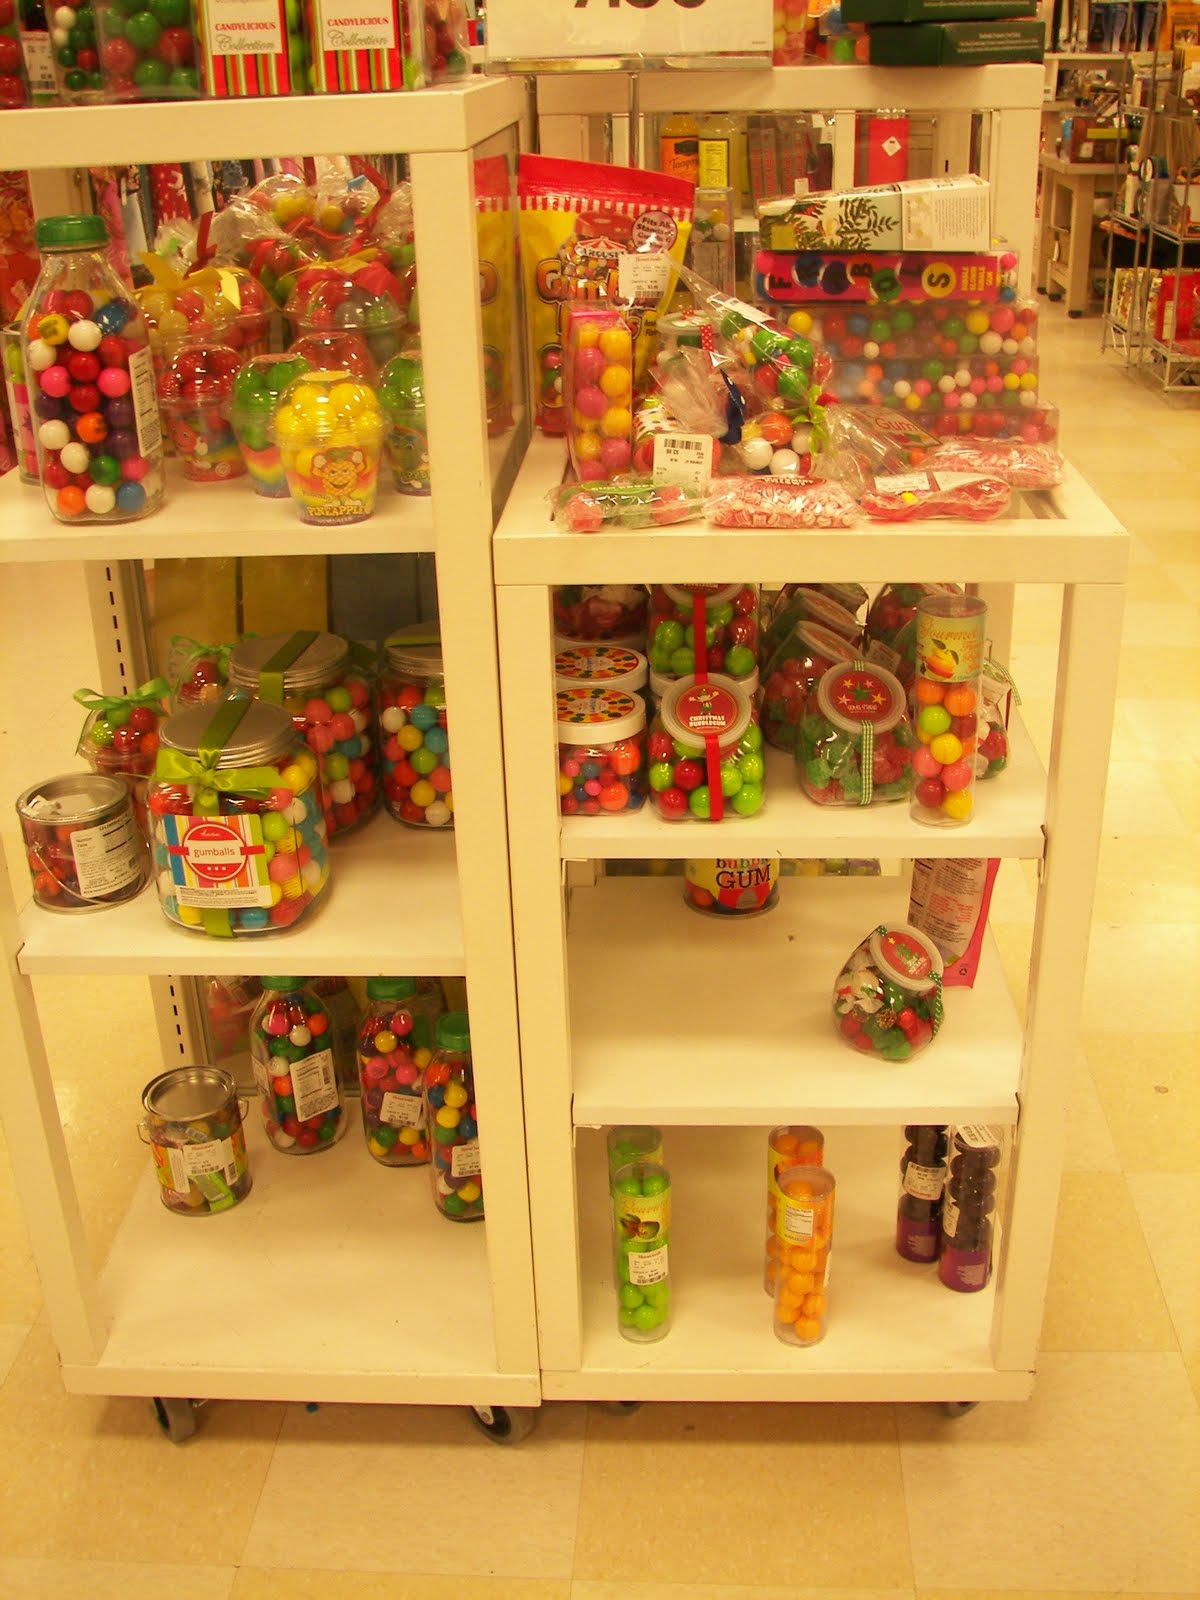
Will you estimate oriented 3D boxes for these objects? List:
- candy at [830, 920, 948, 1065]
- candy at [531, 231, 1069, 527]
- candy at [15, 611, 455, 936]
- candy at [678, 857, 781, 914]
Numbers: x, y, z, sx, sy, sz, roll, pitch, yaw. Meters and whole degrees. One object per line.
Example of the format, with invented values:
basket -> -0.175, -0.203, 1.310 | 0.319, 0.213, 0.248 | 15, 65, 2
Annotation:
candy -> 0.305, 0.210, 1.422 | 0.127, 0.130, 0.133 | 1, 27, 1
candy -> 0.201, -0.413, 1.192 | 0.481, 0.218, 0.450 | -3, 29, 1
candy -> -0.361, -0.002, 1.287 | 0.393, 0.178, 0.342 | 0, 33, -1
candy -> 0.179, 0.114, 1.752 | 0.087, 0.085, 0.092 | 8, 14, 21
